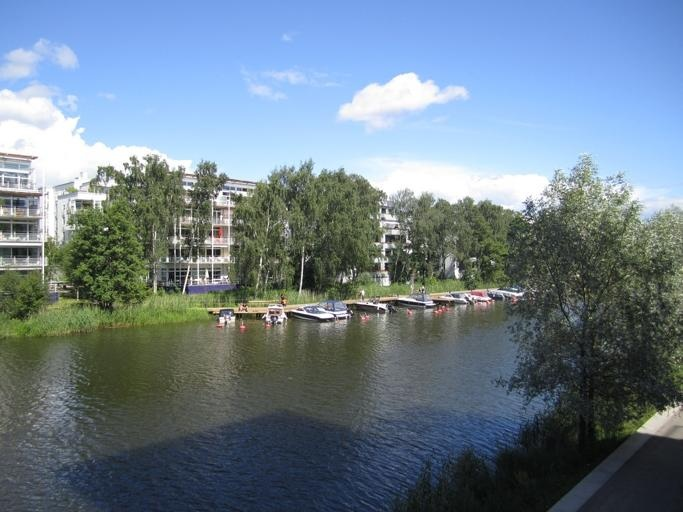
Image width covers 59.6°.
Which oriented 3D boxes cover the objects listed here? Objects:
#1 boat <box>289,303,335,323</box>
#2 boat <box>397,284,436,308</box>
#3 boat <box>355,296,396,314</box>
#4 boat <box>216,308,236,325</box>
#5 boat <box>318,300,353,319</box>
[{"bbox_3d":[-2.953,6.448,65.737,2.830,1.131,5.502,-9,14,-41],"label":"boat"},{"bbox_3d":[9.914,5.985,79.301,5.490,1.906,2.516,10,14,41],"label":"boat"},{"bbox_3d":[3.888,6.085,73.780,4.451,2.004,1.925,0,-3,28],"label":"boat"},{"bbox_3d":[-11.628,6.233,60.710,1.035,0.962,2.081,2,8,-3],"label":"boat"},{"bbox_3d":[-0.545,5.990,66.835,1.740,1.654,2.964,0,12,-40],"label":"boat"}]
